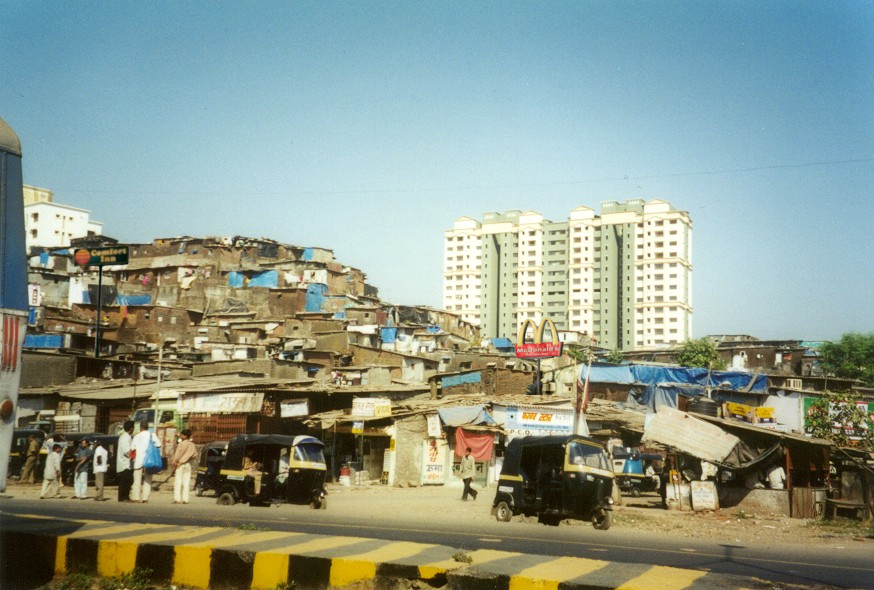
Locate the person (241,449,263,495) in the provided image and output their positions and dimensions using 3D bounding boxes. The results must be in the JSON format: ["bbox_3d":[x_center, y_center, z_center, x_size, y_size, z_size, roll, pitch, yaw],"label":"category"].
[{"bbox_3d":[-5.773,5.581,27.064,0.641,1.303,0.342,2,-8,-4],"label":"person"}]

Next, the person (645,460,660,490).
[{"bbox_3d":[9.344,7.778,37.326,0.280,1.035,1.165,-17,14,32],"label":"person"}]

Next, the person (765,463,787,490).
[{"bbox_3d":[12.164,6.460,30.922,0.700,0.763,0.446,1,-8,-2],"label":"person"}]

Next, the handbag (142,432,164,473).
[{"bbox_3d":[-8.742,4.828,26.565,0.512,1.241,0.922,4,-8,-19],"label":"handbag"}]

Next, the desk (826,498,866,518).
[{"bbox_3d":[13.800,7.195,29.261,1.289,0.636,0.601,-2,-8,23],"label":"desk"}]

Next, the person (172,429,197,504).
[{"bbox_3d":[-7.986,5.363,27.270,0.564,2.253,1.119,3,-8,-16],"label":"person"}]
